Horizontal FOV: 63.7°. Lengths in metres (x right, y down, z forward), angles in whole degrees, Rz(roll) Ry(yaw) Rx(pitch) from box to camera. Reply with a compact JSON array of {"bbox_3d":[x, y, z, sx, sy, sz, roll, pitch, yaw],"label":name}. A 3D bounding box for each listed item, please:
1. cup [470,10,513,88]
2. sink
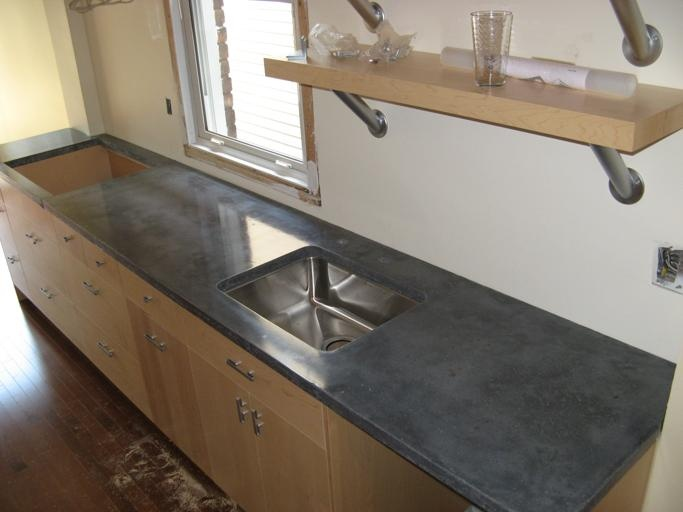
[{"bbox_3d":[0.387,-0.555,1.476,0.092,0.183,0.164,-10,24,-21],"label":"cup"},{"bbox_3d":[-0.101,0.175,2.245,0.625,0.259,0.459,25,35,34],"label":"sink"}]
